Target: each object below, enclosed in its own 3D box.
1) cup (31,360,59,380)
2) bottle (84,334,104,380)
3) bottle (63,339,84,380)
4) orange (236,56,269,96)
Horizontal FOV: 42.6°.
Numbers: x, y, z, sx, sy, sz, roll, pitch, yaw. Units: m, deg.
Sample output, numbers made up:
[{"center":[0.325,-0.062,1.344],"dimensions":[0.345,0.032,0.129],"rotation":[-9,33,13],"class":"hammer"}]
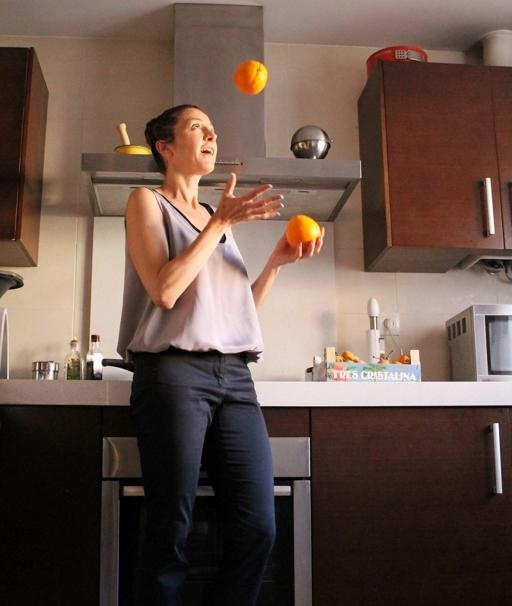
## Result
[{"center":[-0.693,0.219,2.214],"dimensions":[0.101,0.076,0.098],"rotation":[1,-1,0],"class":"cup"},{"center":[-0.548,0.185,2.232],"dimensions":[0.062,0.153,0.296],"rotation":[1,-7,-13],"class":"bottle"},{"center":[-0.622,0.193,2.255],"dimensions":[0.058,0.137,0.173],"rotation":[1,-7,-14],"class":"bottle"},{"center":[-0.007,-0.678,1.958],"dimensions":[0.097,0.103,0.105],"rotation":[3,-8,-25],"class":"orange"}]
